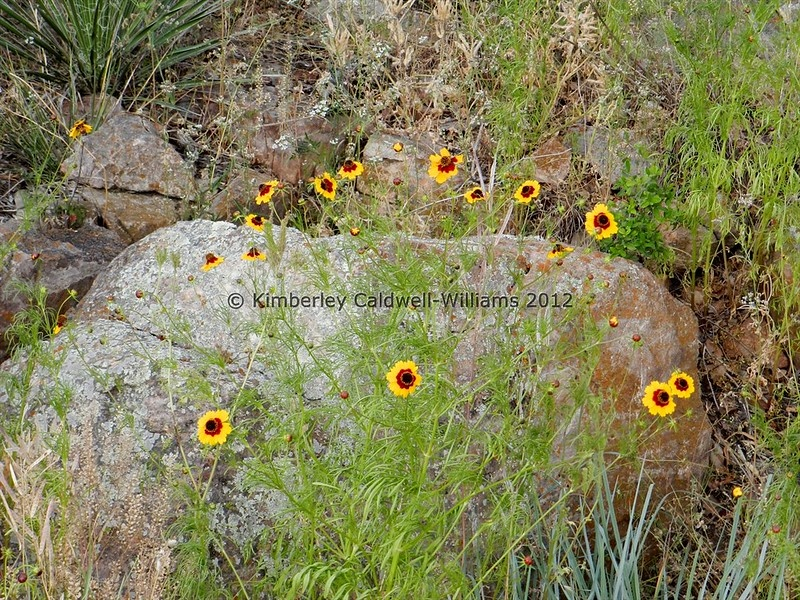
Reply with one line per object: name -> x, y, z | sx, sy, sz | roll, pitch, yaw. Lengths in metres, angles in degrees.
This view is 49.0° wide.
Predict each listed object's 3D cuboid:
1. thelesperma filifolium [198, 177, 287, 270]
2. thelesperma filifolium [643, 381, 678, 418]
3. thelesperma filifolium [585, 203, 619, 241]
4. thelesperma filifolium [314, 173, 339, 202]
thelesperma filifolium -> -0.814, -0.385, 4.560 | 0.453, 0.124, 0.449 | -40, 70, -19
thelesperma filifolium -> 1.072, 0.418, 3.626 | 0.135, 0.047, 0.151 | 32, 82, 13
thelesperma filifolium -> 0.889, -0.340, 3.885 | 0.133, 0.060, 0.163 | 24, 68, -4
thelesperma filifolium -> -0.329, -0.483, 3.961 | 0.118, 0.040, 0.130 | -25, 55, -17
